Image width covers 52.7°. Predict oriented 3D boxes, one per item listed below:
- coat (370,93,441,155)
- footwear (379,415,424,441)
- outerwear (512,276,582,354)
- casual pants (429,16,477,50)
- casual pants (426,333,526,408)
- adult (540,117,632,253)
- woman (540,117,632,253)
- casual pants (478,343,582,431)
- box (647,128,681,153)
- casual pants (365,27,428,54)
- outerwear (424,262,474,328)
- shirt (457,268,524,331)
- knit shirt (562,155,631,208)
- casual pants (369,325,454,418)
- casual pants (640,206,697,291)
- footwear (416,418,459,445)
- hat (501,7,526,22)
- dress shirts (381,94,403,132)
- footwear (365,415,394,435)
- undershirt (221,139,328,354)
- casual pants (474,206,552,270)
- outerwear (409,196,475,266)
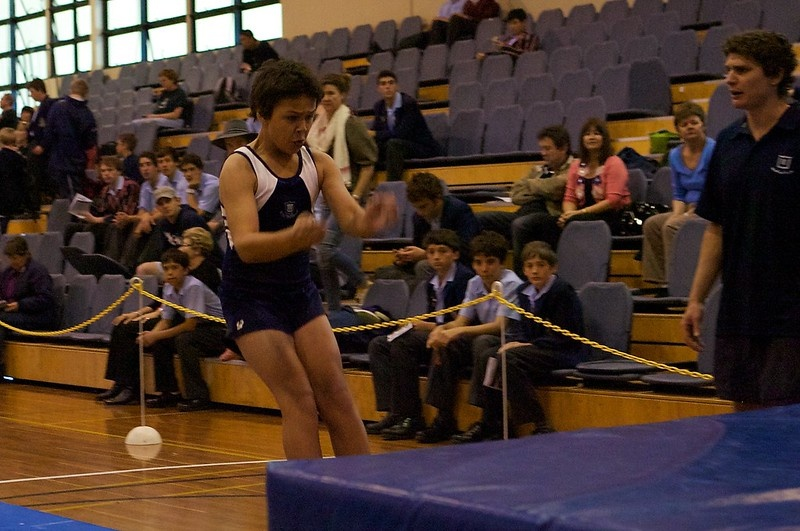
[{"bbox_3d":[0.066,-1.422,8.413,0.734,0.760,0.641,-4,9,-17],"label":"coat"},{"bbox_3d":[0.025,1.086,5.345,0.310,0.134,0.117,1,0,-23],"label":"footwear"},{"bbox_3d":[0.933,0.324,5.023,0.521,0.534,0.412,0,-2,-25],"label":"outerwear"},{"bbox_3d":[0.776,-3.480,11.956,0.548,0.269,0.559,-20,8,-36],"label":"casual pants"},{"bbox_3d":[0.456,0.679,5.205,0.524,0.476,0.467,-1,-10,12],"label":"casual pants"},{"bbox_3d":[1.374,-0.610,5.970,0.576,0.951,0.493,2,9,25],"label":"adult"},{"bbox_3d":[1.376,-0.610,5.969,0.569,0.951,0.492,2,9,26],"label":"woman"},{"bbox_3d":[0.872,0.736,5.101,0.506,0.489,0.580,6,1,-25],"label":"casual pants"},{"bbox_3d":[2.406,-1.157,7.455,0.419,0.283,0.236,-5,4,-44],"label":"box"},{"bbox_3d":[-0.026,-3.479,12.661,1.093,0.421,0.348,1,7,31],"label":"casual pants"},{"bbox_3d":[0.365,0.168,5.527,0.233,0.416,0.400,-15,21,-26],"label":"outerwear"},{"bbox_3d":[0.618,0.219,5.317,0.440,0.406,0.257,4,8,31],"label":"shirt"},{"bbox_3d":[1.478,-0.650,6.138,0.287,0.392,0.494,-9,6,-43],"label":"knit shirt"},{"bbox_3d":[0.110,0.763,5.553,0.530,0.766,0.585,11,-16,-39],"label":"casual pants"},{"bbox_3d":[1.902,-0.139,5.552,0.358,0.543,0.440,4,1,-12],"label":"casual pants"},{"bbox_3d":[0.239,1.069,5.196,0.324,0.143,0.116,2,-3,-28],"label":"footwear"},{"bbox_3d":[1.556,-3.429,10.921,0.273,0.139,0.337,0,6,2],"label":"hat"},{"bbox_3d":[-0.073,-1.568,8.218,0.223,0.353,0.360,0,11,7],"label":"dress shirts"},{"bbox_3d":[-0.116,1.068,5.397,0.269,0.119,0.090,2,6,23],"label":"footwear"},{"bbox_3d":[-0.491,0.052,3.170,0.447,1.080,0.368,1,-7,-27],"label":"undershirt"},{"bbox_3d":[0.844,-0.314,6.154,0.395,0.535,0.418,-8,-2,25],"label":"casual pants"},{"bbox_3d":[0.297,-0.238,5.692,0.473,0.445,0.314,-7,-14,42],"label":"outerwear"}]
